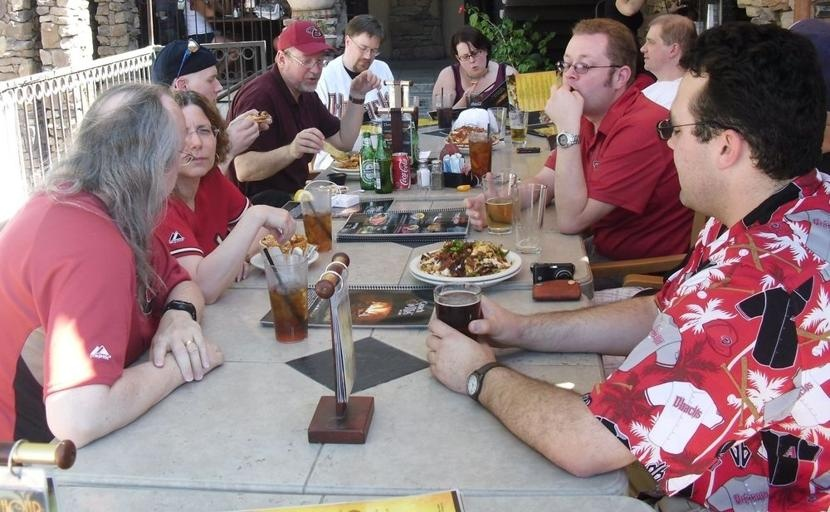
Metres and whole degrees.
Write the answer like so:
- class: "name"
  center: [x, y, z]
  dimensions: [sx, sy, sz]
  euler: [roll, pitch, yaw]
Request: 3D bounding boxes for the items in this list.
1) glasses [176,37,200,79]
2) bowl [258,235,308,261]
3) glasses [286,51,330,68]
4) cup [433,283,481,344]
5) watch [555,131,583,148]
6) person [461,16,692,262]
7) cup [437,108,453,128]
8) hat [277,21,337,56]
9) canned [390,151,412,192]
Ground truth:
- class: "glasses"
  center: [-1.344, -1.138, 4.037]
  dimensions: [0.063, 0.205, 0.198]
  euler: [29, 17, -16]
- class: "bowl"
  center: [-0.483, -0.039, 2.565]
  dimensions: [0.148, 0.051, 0.101]
  euler: [4, 4, 4]
- class: "glasses"
  center: [-0.760, -1.297, 4.592]
  dimensions: [0.188, 0.060, 0.156]
  euler: [10, 23, 37]
- class: "cup"
  center: [0.110, 0.187, 2.313]
  dimensions: [0.170, 0.177, 0.167]
  euler: [-2, 11, 0]
- class: "watch"
  center: [0.721, -0.548, 3.316]
  dimensions: [0.089, 0.073, 0.031]
  euler: [-5, -7, 10]
- class: "person"
  center: [0.805, -0.588, 3.739]
  dimensions: [1.280, 1.276, 0.963]
  euler: [12, 15, 24]
- class: "cup"
  center: [0.232, -1.078, 5.383]
  dimensions: [0.158, 0.161, 0.153]
  euler: [-2, 16, 1]
- class: "hat"
  center: [-0.727, -1.443, 4.601]
  dimensions: [0.355, 0.179, 0.240]
  euler: [4, 21, 4]
- class: "canned"
  center: [-0.088, -0.466, 3.828]
  dimensions: [0.136, 0.191, 0.130]
  euler: [-6, 9, -21]
